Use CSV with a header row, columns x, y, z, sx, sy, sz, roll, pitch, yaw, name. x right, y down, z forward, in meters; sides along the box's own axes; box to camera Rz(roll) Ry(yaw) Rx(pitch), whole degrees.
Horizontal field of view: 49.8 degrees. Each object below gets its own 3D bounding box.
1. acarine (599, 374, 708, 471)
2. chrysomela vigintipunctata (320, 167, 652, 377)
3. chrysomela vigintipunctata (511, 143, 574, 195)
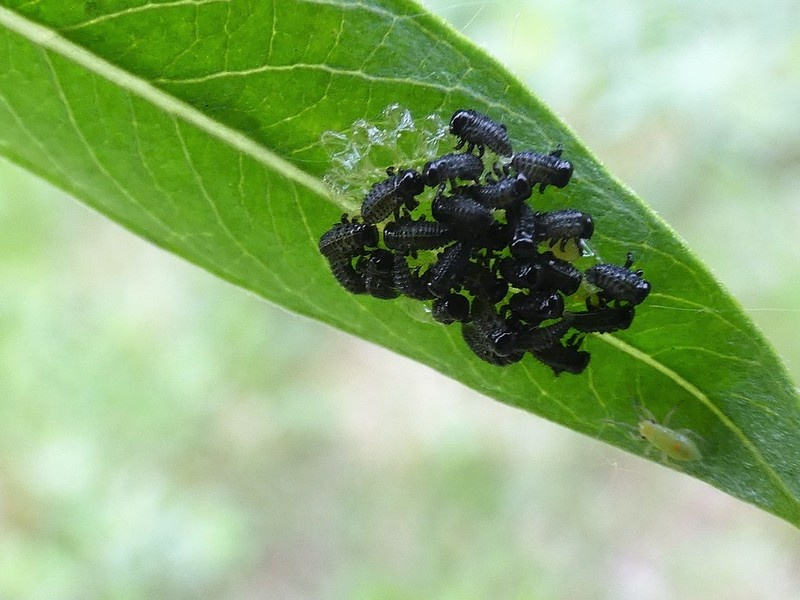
x,y,z,sx,sy,sz,roll,pitch,yaw,name
1.957,0.977,6.623,0.687,0.208,0.540,31,-81,5,acarine
0.647,-0.188,6.477,2.302,0.506,1.382,17,-81,7,chrysomela vigintipunctata
1.038,-0.995,6.299,0.471,0.142,0.318,15,-48,6,chrysomela vigintipunctata
